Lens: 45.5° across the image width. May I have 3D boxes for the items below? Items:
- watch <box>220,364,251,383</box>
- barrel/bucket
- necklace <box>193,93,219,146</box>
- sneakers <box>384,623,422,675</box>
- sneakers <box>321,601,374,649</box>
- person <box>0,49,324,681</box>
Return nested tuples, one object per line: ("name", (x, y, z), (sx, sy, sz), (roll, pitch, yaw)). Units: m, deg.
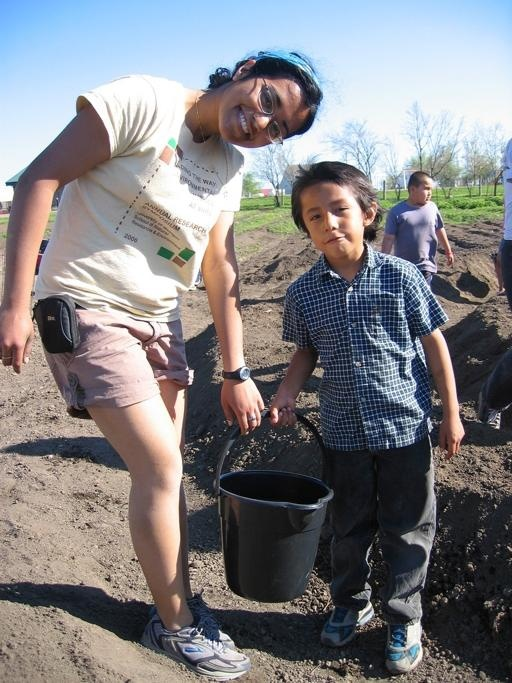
("watch", (-0.068, 0.114, 2.069), (0.081, 0.045, 0.083), (-3, 0, 32))
("barrel/bucket", (0.076, 0.537, 2.068), (0.451, 0.566, 0.469), (4, -1, 0))
("necklace", (-0.168, -0.693, 1.925), (0.082, 0.137, 0.106), (-8, -22, 13))
("sneakers", (0.529, 1.108, 2.206), (0.093, 0.105, 0.256), (-4, -8, 10))
("sneakers", (0.391, 1.068, 2.396), (0.102, 0.117, 0.287), (6, 13, 38))
("person", (-0.338, 0.006, 1.882), (0.968, 1.895, 0.480), (15, 2, -29))
